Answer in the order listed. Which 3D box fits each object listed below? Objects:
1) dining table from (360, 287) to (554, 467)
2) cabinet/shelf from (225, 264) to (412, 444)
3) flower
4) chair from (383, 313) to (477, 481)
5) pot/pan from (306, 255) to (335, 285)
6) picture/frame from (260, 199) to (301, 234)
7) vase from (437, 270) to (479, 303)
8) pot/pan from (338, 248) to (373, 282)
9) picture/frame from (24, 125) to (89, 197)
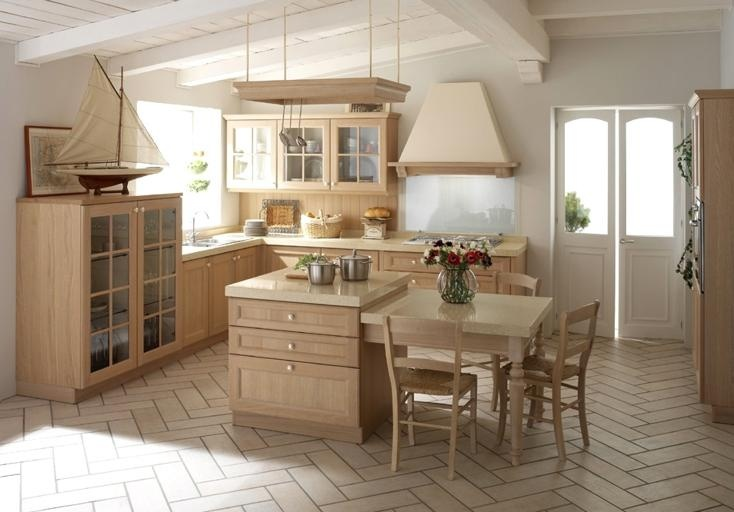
[{"bbox_3d":[0.778,0.841,4.515,1.654,1.104,1.255,1,4,19],"label":"dining table"},{"bbox_3d":[-0.423,0.771,4.948,1.331,1.194,1.358,2,5,26],"label":"cabinet/shelf"},{"bbox_3d":[0.805,0.056,4.601,0.566,0.618,0.684,1,3,27],"label":"flower"},{"bbox_3d":[0.500,0.951,4.159,0.745,1.183,0.951,2,12,11],"label":"chair"},{"bbox_3d":[-0.364,0.112,4.571,0.346,0.220,0.219,2,12,9],"label":"pot/pan"},{"bbox_3d":[-1.203,-0.569,7.652,0.549,0.498,0.055,2,7,14],"label":"picture/frame"},{"bbox_3d":[0.750,0.240,4.505,0.311,0.245,0.295,0,0,-2],"label":"vase"},{"bbox_3d":[-0.060,0.078,4.738,0.380,0.273,0.257,3,8,24],"label":"pot/pan"},{"bbox_3d":[-3.038,-0.955,5.235,0.061,0.707,0.781,0,2,27],"label":"picture/frame"}]
